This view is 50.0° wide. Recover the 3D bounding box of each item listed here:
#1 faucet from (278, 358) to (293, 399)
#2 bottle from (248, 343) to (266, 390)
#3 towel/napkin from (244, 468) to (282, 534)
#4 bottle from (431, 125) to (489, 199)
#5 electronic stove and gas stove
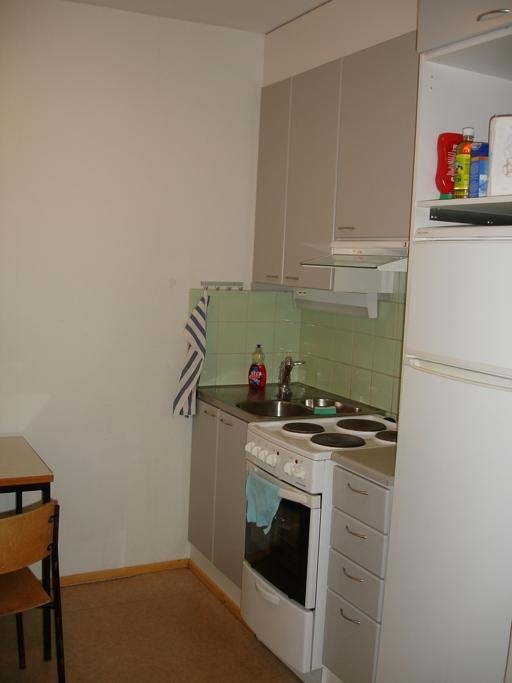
[{"bbox_3d":[0.151,0.192,2.843,0.074,0.161,0.136,3,1,3],"label":"faucet"},{"bbox_3d":[0.004,0.143,3.004,0.100,0.180,0.225,3,1,2],"label":"bottle"},{"bbox_3d":[0.030,0.622,2.131,0.023,0.241,0.228,-3,17,-24],"label":"towel/napkin"},{"bbox_3d":[0.512,-0.444,1.358,0.080,0.172,0.218,3,1,-2],"label":"bottle"},{"bbox_3d":[0.238,0.402,2.111,0.321,0.128,0.317,-1,5,-28],"label":"electronic stove and gas stove"}]
